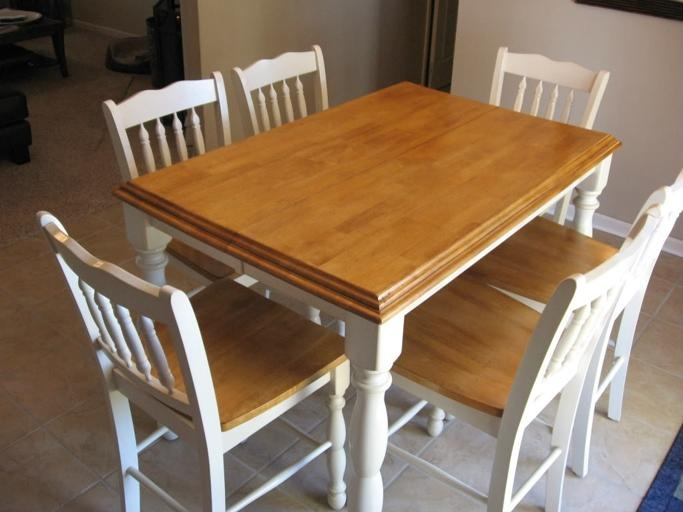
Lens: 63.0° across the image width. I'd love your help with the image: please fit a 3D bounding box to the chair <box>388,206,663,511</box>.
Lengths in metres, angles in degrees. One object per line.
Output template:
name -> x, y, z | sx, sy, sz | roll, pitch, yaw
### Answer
chair -> 0.445, 0.340, 1.652 | 0.591, 1.077, 0.526 | 22, 37, 29
